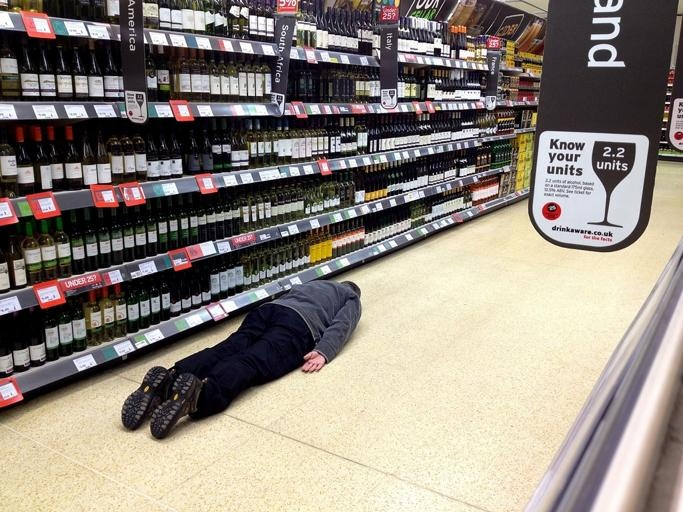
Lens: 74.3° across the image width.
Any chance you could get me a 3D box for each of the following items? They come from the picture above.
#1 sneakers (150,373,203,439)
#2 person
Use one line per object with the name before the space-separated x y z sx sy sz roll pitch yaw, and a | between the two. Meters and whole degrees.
sneakers | -1.054 0.795 2.809 0.209 0.238 0.511 -39 21 -14
person | -0.560 0.533 3.155 0.618 0.452 1.819 20 22 27
